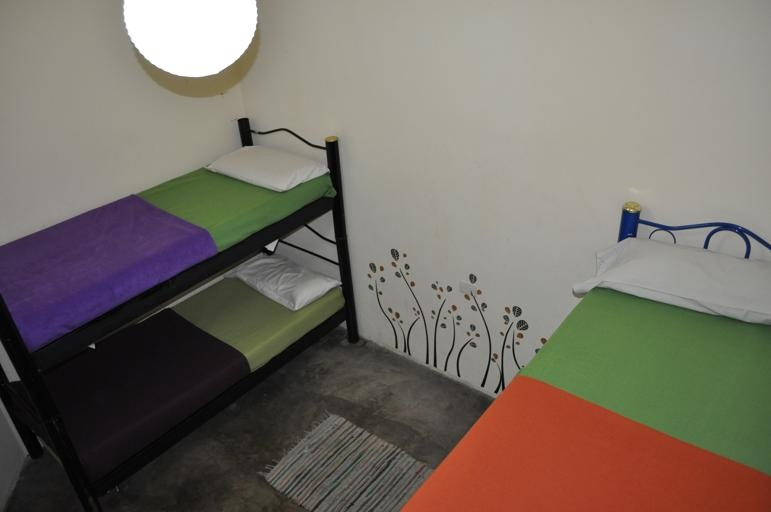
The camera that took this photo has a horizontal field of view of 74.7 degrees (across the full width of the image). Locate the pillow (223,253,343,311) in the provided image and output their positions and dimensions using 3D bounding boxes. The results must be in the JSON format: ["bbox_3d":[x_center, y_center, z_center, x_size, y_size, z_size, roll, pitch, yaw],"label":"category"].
[{"bbox_3d":[-0.950,0.215,4.638,0.765,0.480,0.212,16,-60,35],"label":"pillow"}]
